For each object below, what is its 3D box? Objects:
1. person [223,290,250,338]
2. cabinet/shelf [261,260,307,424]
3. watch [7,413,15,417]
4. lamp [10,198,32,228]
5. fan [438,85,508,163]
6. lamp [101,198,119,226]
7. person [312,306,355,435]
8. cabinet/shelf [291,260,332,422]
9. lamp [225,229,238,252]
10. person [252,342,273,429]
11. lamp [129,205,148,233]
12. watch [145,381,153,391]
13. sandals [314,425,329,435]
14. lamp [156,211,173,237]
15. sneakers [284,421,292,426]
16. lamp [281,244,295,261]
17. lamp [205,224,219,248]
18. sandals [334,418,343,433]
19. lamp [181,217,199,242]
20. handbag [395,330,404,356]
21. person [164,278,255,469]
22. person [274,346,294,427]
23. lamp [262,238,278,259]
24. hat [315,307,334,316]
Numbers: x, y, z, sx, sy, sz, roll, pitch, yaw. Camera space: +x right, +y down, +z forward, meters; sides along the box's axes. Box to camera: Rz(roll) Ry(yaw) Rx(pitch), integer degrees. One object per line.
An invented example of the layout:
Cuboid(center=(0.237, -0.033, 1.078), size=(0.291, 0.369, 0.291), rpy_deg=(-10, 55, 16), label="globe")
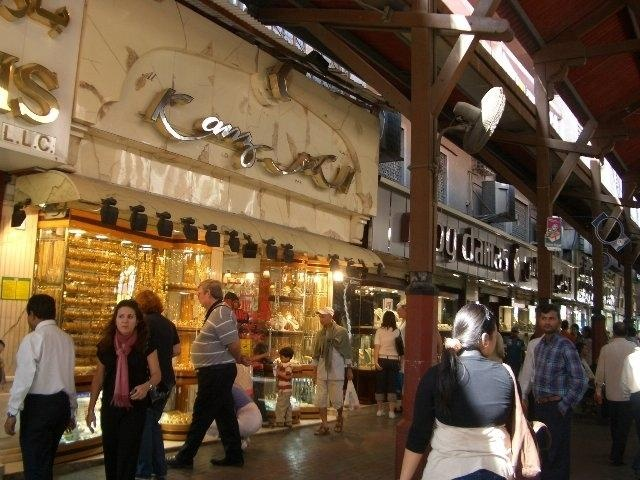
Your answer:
Cuboid(center=(-1.556, 1.344, 9.017), size=(0.421, 0.760, 0.506), rpy_deg=(12, 17, 14), label="person")
Cuboid(center=(-0.723, 1.777, 10.018), size=(0.777, 2.938, 0.710), rpy_deg=(1, 4, -22), label="cabinet/shelf")
Cuboid(center=(-2.739, 1.554, 4.540), size=(0.070, 0.043, 0.046), rpy_deg=(1, -9, 21), label="watch")
Cuboid(center=(-3.637, -0.328, 6.247), size=(0.181, 0.365, 0.291), rpy_deg=(8, -9, -33), label="lamp")
Cuboid(center=(2.213, -1.557, 7.086), size=(0.775, 1.193, 0.794), rpy_deg=(5, 13, -28), label="fan")
Cuboid(center=(-2.522, -0.353, 6.142), size=(0.195, 0.323, 0.154), rpy_deg=(8, -9, -31), label="lamp")
Cuboid(center=(0.204, 2.241, 8.835), size=(0.653, 2.096, 0.541), rpy_deg=(4, -8, -4), label="person")
Cuboid(center=(-0.248, 1.882, 10.198), size=(0.737, 3.082, 0.928), rpy_deg=(2, -3, 12), label="cabinet/shelf")
Cuboid(center=(-1.284, 0.007, 7.622), size=(0.167, 0.314, 0.331), rpy_deg=(4, -8, -6), label="lamp")
Cuboid(center=(-0.992, 2.610, 8.896), size=(0.378, 1.082, 0.501), rpy_deg=(4, -8, -9), label="person")
Cuboid(center=(-2.284, -0.281, 6.458), size=(0.202, 0.412, 0.266), rpy_deg=(-8, -8, 35), label="lamp")
Cuboid(center=(-1.642, 1.430, 4.946), size=(0.056, 0.064, 0.038), rpy_deg=(-4, -5, 35), label="watch")
Cuboid(center=(0.039, 3.191, 8.574), size=(0.109, 0.155, 0.316), rpy_deg=(-6, -18, 23), label="sandals")
Cuboid(center=(-2.052, -0.210, 6.769), size=(0.204, 0.329, 0.285), rpy_deg=(5, -8, -14), label="lamp")
Cuboid(center=(-0.542, 3.206, 8.846), size=(0.061, 0.089, 0.118), rpy_deg=(1, -5, 14), label="sneakers")
Cuboid(center=(-0.529, 0.226, 8.607), size=(0.166, 0.294, 0.343), rpy_deg=(2, -8, 10), label="lamp")
Cuboid(center=(-1.528, -0.065, 7.362), size=(0.177, 0.322, 0.296), rpy_deg=(1, -8, 14), label="lamp")
Cuboid(center=(0.320, 3.239, 8.899), size=(0.186, 0.158, 0.561), rpy_deg=(-2, -10, 3), label="sandals")
Cuboid(center=(-1.795, -0.165, 7.054), size=(0.232, 0.308, 0.169), rpy_deg=(6, -8, -16), label="lamp")
Cuboid(center=(1.628, 2.155, 10.636), size=(0.181, 0.549, 0.483), rpy_deg=(-2, -6, 19), label="handbag")
Cuboid(center=(-1.459, 1.702, 6.568), size=(0.962, 2.414, 0.927), rpy_deg=(3, -6, -26), label="person")
Cuboid(center=(-0.613, 2.567, 8.881), size=(0.341, 1.358, 0.367), rpy_deg=(4, -8, -5), label="person")
Cuboid(center=(-0.783, 0.146, 8.145), size=(0.194, 0.309, 0.346), rpy_deg=(2, -8, 11), label="lamp")
Cuboid(center=(0.125, 1.252, 8.882), size=(0.149, 0.098, 0.224), rpy_deg=(-8, -16, 44), label="hat")
